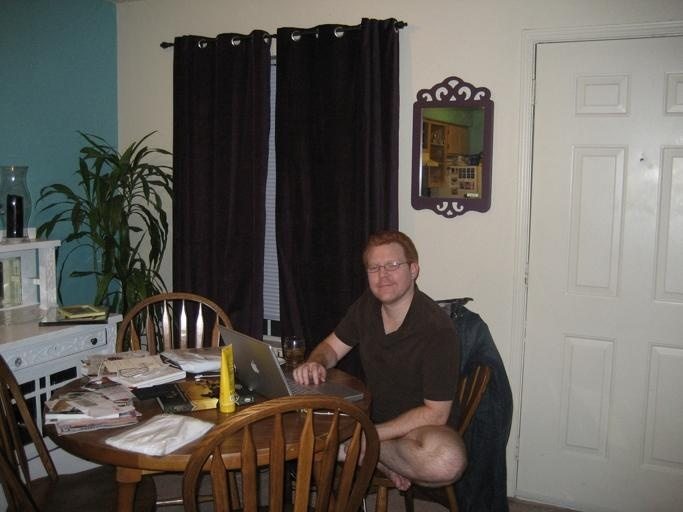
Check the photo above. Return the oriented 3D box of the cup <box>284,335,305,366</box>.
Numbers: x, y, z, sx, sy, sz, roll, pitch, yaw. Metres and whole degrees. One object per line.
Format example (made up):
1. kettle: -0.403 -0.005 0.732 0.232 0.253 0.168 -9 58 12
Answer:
1. cup: -0.231 0.462 2.745 0.113 0.147 0.128 0 -1 1

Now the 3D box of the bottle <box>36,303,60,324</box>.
1. bottle: -1.680 0.336 3.231 0.115 0.030 0.105 1 9 0

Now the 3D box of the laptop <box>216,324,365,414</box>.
1. laptop: -0.200 0.470 2.470 0.257 0.433 0.432 -19 8 -28

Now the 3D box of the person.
1. person: 0.221 0.469 2.763 0.732 1.119 1.009 -14 15 -38

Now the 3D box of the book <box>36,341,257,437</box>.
1. book: -0.874 0.598 2.420 0.711 0.140 0.416 -2 7 -14
